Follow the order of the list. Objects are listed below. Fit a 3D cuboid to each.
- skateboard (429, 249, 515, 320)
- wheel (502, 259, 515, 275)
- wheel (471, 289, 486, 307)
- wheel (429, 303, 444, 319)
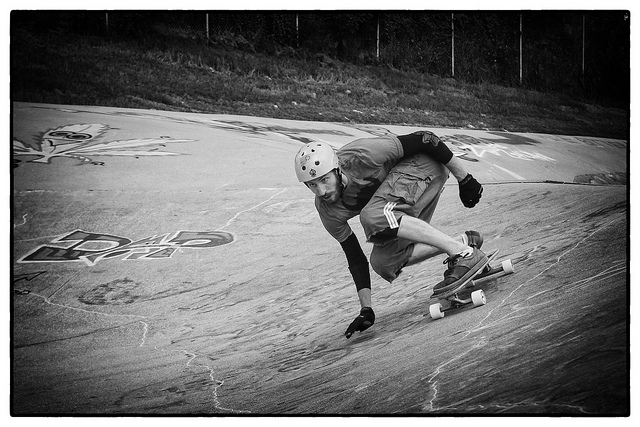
[{"bbox_3d":[1.389,0.666,5.048,0.469,0.252,0.875,-23,11,44],"label":"skateboard"},{"bbox_3d":[1.764,0.487,5.261,0.122,0.210,0.223,-1,1,22],"label":"wheel"},{"bbox_3d":[1.347,0.719,4.777,0.116,0.191,0.201,-8,-18,23],"label":"wheel"},{"bbox_3d":[0.996,0.836,4.843,0.100,0.138,0.131,-1,-37,21],"label":"wheel"}]
